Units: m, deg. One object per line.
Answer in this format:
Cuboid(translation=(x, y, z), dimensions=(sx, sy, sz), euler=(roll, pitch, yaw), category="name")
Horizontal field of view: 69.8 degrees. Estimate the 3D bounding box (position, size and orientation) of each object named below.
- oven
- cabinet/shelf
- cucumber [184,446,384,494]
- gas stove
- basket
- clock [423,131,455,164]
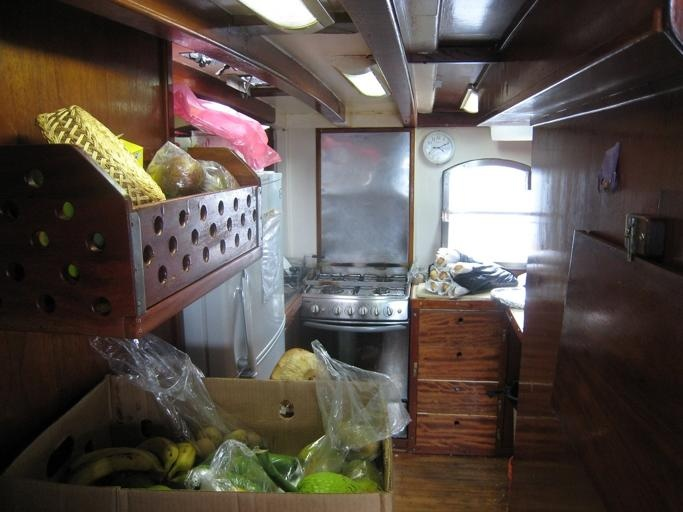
Cuboid(translation=(0.127, 0.787, 3.871), dimensions=(0.751, 0.880, 0.809), euler=(3, 10, 9), category="oven")
Cuboid(translation=(0.794, 0.746, 3.592), dimensions=(0.633, 1.111, 0.669), euler=(1, 12, 3), category="cabinet/shelf")
Cuboid(translation=(-0.143, 0.509, 1.171), dimensions=(0.303, 0.083, 0.239), euler=(-3, 11, -37), category="cucumber")
Cuboid(translation=(0.109, 0.307, 3.737), dimensions=(0.808, 0.294, 0.661), euler=(6, 2, 8), category="gas stove")
Cuboid(translation=(-0.448, -0.178, 0.990), dimensions=(0.213, 0.221, 0.235), euler=(2, 12, 5), category="basket")
Cuboid(translation=(0.770, -0.866, 3.968), dimensions=(0.241, 0.263, 0.247), euler=(4, 2, 10), category="clock")
